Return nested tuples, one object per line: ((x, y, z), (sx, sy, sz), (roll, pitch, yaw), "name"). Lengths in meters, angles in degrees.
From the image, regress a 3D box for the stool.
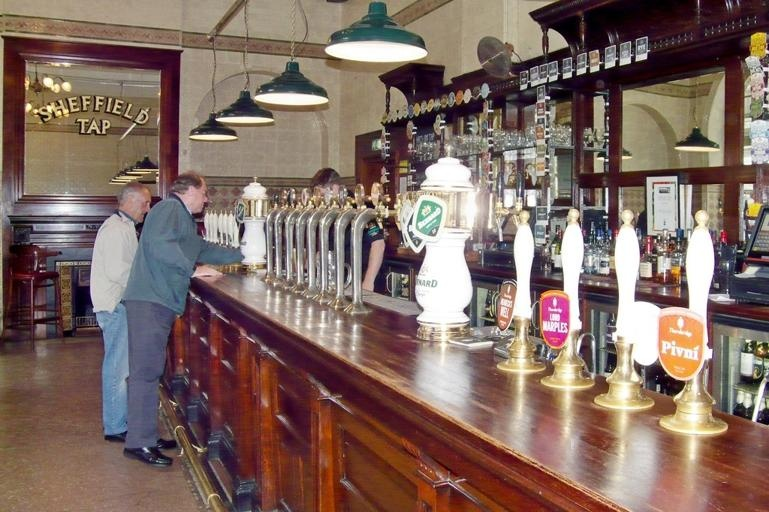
((-4.720, 0.649, 8.449), (0.702, 1.097, 1.125), (-10, 17, -31), "stool")

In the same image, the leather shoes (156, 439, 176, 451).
((-1.773, 1.504, 5.117), (0.190, 0.081, 0.064), (-3, 12, -21), "leather shoes")

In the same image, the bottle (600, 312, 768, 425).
((0.952, 0.355, 2.146), (0.408, 0.395, 0.207), (12, 20, 41), "bottle")

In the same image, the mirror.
((-4.158, -1.796, 8.712), (2.908, 2.957, 0.254), (0, 4, -22), "mirror")

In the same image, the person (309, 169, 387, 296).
((-0.359, -0.142, 5.115), (0.392, 1.150, 0.621), (-5, 16, -5), "person")

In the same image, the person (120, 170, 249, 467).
((-1.577, 0.483, 4.812), (0.527, 2.109, 0.883), (9, 18, 36), "person")

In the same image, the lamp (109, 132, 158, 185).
((-3.743, -1.466, 9.636), (0.881, 0.855, 0.848), (0, 5, -23), "lamp")
